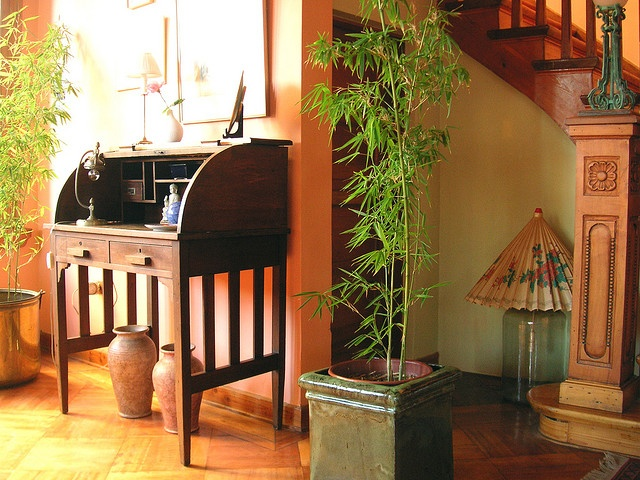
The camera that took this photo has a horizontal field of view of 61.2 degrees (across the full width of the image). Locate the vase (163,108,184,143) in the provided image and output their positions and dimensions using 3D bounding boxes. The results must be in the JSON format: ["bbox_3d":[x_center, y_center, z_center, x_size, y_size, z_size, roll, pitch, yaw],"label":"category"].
[{"bbox_3d":[-0.991,-0.762,3.616,0.140,0.214,0.137,-5,20,-2],"label":"vase"}]

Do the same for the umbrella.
[{"bbox_3d":[1.510,0.089,3.872,0.847,0.603,0.835,-14,22,-28],"label":"umbrella"}]

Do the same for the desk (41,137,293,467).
[{"bbox_3d":[-1.070,0.262,3.578,1.426,1.748,0.830,3,4,35],"label":"desk"}]

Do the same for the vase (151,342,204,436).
[{"bbox_3d":[-0.867,0.913,3.372,0.309,0.514,0.315,1,7,24],"label":"vase"}]
